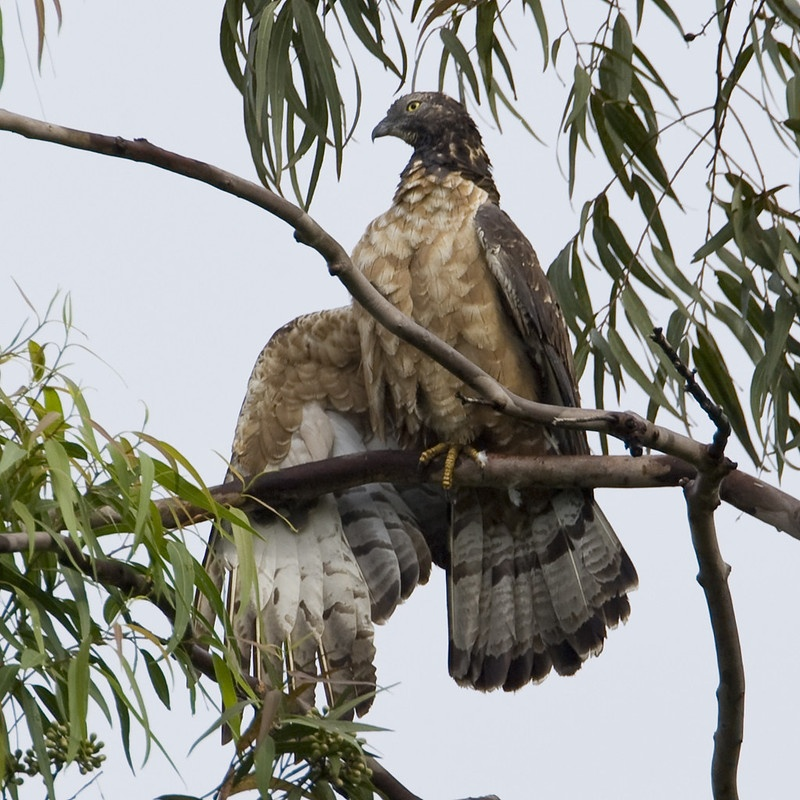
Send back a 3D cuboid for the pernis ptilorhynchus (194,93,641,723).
[{"bbox_3d":[0.209,-0.140,7.083,0.838,1.720,0.882,16,-31,-37],"label":"pernis ptilorhynchus"}]
